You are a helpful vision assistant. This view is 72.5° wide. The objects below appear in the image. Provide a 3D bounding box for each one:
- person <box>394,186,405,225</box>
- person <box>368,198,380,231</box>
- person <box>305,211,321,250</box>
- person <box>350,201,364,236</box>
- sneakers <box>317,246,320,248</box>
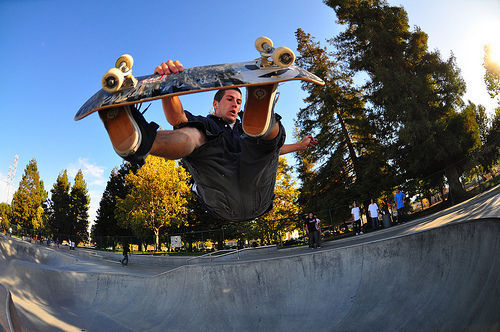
[{"bbox_3d":[6.387,1.737,14.488,0.386,1.418,0.956,-8,-11,22],"label":"person"},{"bbox_3d":[5.824,2.304,16.082,0.371,1.436,0.741,-8,-11,19],"label":"person"},{"bbox_3d":[2.841,2.915,15.463,0.556,1.692,0.375,-12,9,-3],"label":"person"},{"bbox_3d":[5.320,2.639,17.037,0.439,1.595,1.764,-7,-11,16],"label":"person"},{"bbox_3d":[3.090,3.651,15.284,0.153,0.073,0.370,-7,-12,10],"label":"sneakers"}]
